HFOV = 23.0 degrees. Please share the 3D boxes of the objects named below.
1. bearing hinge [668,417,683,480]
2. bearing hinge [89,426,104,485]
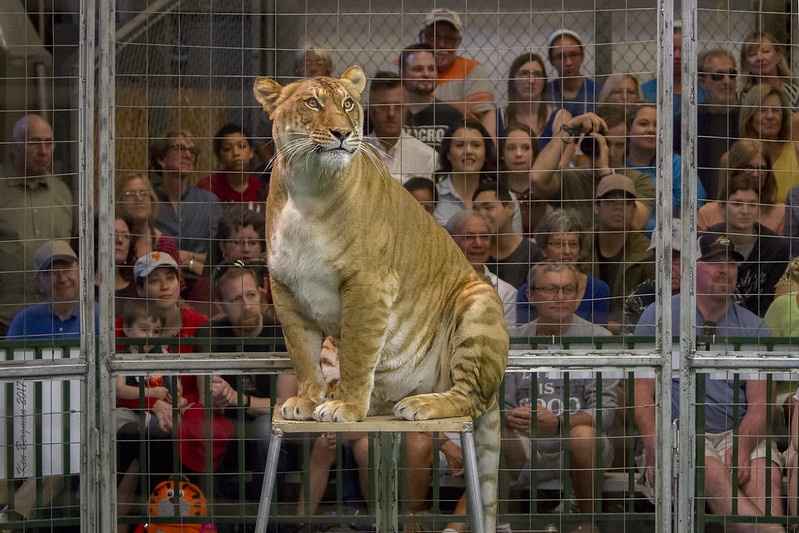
[{"bbox_3d":[1.803,1.182,12.639,0.061,0.401,0.163,-2,-2,7],"label":"bearing hinge"},{"bbox_3d":[-1.946,1.190,12.525,0.112,0.398,0.046,-1,-2,-9],"label":"bearing hinge"}]
